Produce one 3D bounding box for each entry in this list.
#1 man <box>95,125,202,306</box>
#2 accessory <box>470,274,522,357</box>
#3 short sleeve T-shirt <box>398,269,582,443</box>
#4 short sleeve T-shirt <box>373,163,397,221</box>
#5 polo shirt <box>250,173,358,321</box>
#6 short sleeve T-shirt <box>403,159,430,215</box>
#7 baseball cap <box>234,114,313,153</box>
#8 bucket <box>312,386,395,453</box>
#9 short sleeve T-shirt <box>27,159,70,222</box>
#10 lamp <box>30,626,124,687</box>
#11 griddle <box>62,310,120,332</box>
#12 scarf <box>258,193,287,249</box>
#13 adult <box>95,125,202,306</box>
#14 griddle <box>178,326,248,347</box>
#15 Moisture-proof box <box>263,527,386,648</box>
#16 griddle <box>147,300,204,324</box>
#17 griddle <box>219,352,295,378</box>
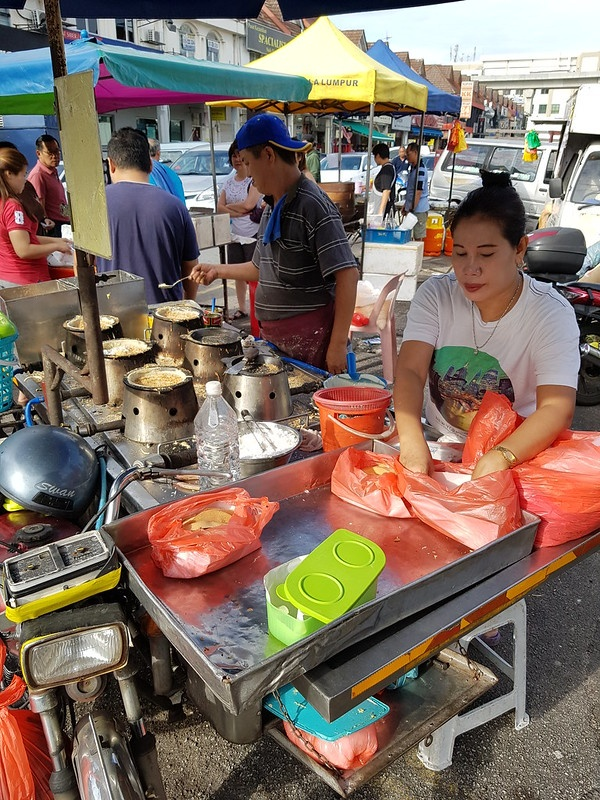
[{"bbox_3d":[-0.951,-1.205,3.737,0.613,1.111,0.502,-9,18,-30],"label":"man"},{"bbox_3d":[0.643,-0.287,1.904,0.145,0.246,0.061,14,30,10],"label":"accessory"},{"bbox_3d":[0.611,-0.137,1.897,0.610,0.566,0.312,27,65,27],"label":"short sleeve T-shirt"},{"bbox_3d":[1.556,-3.812,10.633,0.399,1.129,0.581,0,24,4],"label":"short sleeve T-shirt"},{"bbox_3d":[-0.008,-0.809,3.157,0.454,0.790,0.893,-9,20,-30],"label":"polo shirt"},{"bbox_3d":[2.126,-3.887,10.459,0.453,0.860,0.705,2,26,9],"label":"short sleeve T-shirt"},{"bbox_3d":[-0.130,-1.276,2.801,0.316,0.152,0.189,-14,35,-7],"label":"baseball cap"},{"bbox_3d":[0.176,0.059,1.910,0.240,0.182,0.235,0,22,0],"label":"bucket"},{"bbox_3d":[-3.051,-2.541,7.065,0.376,0.702,0.687,-4,25,-3],"label":"short sleeve T-shirt"},{"bbox_3d":[-0.399,0.461,1.047,0.157,0.087,0.037,-9,9,-23],"label":"lamp"},{"bbox_3d":[-0.894,-0.339,2.445,0.170,0.038,0.160,1,26,-5],"label":"griddle"},{"bbox_3d":[-0.139,-0.926,2.943,0.070,0.236,0.178,-9,17,-29],"label":"scarf"},{"bbox_3d":[-0.949,-1.205,3.739,0.621,1.111,0.500,-9,18,-30],"label":"adult"},{"bbox_3d":[-0.365,-0.268,2.429,0.142,0.023,0.171,10,27,16],"label":"griddle"},{"bbox_3d":[0.059,0.361,1.147,0.174,0.087,0.296,12,20,28],"label":"Moisture-proof box"},{"bbox_3d":[-0.616,-0.440,2.863,0.222,0.078,0.216,21,34,17],"label":"griddle"},{"bbox_3d":[-0.162,-0.133,2.137,0.176,0.023,0.120,-5,28,-32],"label":"griddle"}]
